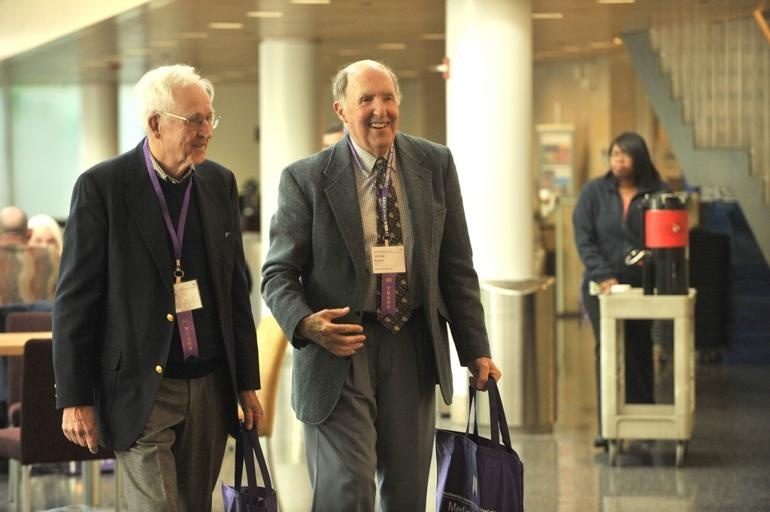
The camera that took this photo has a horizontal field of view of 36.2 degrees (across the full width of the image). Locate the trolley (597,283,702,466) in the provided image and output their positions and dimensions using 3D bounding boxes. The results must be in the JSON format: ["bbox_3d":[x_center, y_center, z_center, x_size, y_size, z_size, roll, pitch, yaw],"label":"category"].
[{"bbox_3d":[1.601,0.759,7.475,0.804,1.011,0.788,11,-11,-42],"label":"trolley"}]

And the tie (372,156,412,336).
[{"bbox_3d":[0.038,-0.057,5.956,0.171,0.838,0.118,-2,0,-3],"label":"tie"}]
